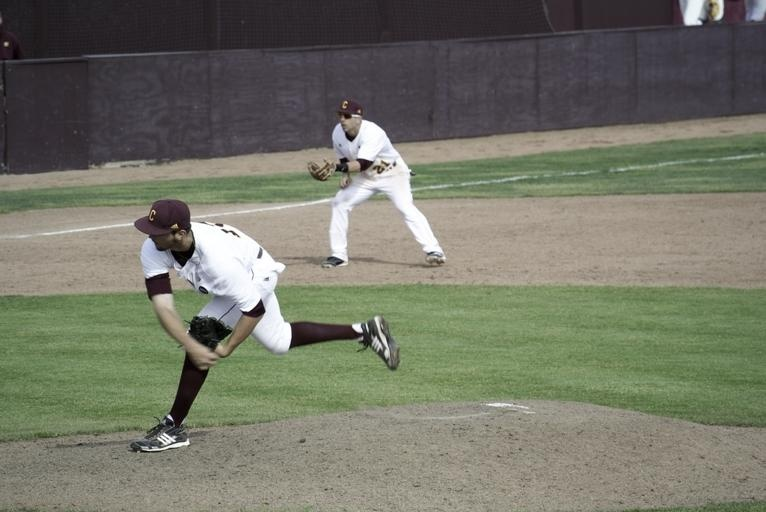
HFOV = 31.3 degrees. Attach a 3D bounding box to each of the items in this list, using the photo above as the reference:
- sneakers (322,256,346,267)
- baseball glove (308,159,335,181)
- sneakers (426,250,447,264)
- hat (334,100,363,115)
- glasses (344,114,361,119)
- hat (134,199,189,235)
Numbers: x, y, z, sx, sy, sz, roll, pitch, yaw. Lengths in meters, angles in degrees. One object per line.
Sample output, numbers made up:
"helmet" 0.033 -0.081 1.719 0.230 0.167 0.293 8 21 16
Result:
"sneakers" -0.793 0.096 22.686 0.381 0.132 0.171 1 3 -9
"baseball glove" -0.945 -1.312 21.277 0.399 0.239 0.472 0 15 -5
"sneakers" 0.899 0.032 22.457 0.296 0.148 0.146 0 8 25
"hat" -0.519 -2.368 21.929 0.356 0.212 0.285 -5 15 -10
"glasses" -0.448 -2.243 21.873 0.260 0.067 0.072 -10 16 -30
"hat" -2.706 -0.486 16.898 0.610 0.251 0.417 0 23 -10
